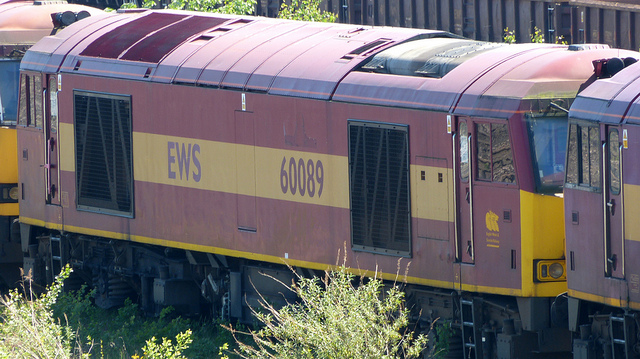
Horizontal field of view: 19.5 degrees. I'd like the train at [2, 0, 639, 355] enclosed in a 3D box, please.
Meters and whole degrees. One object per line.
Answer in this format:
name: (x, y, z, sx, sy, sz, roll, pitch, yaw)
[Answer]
train: (0.752, 0.030, 41.753, 5.735, 7.299, 20.508, -4, 6, -44)
